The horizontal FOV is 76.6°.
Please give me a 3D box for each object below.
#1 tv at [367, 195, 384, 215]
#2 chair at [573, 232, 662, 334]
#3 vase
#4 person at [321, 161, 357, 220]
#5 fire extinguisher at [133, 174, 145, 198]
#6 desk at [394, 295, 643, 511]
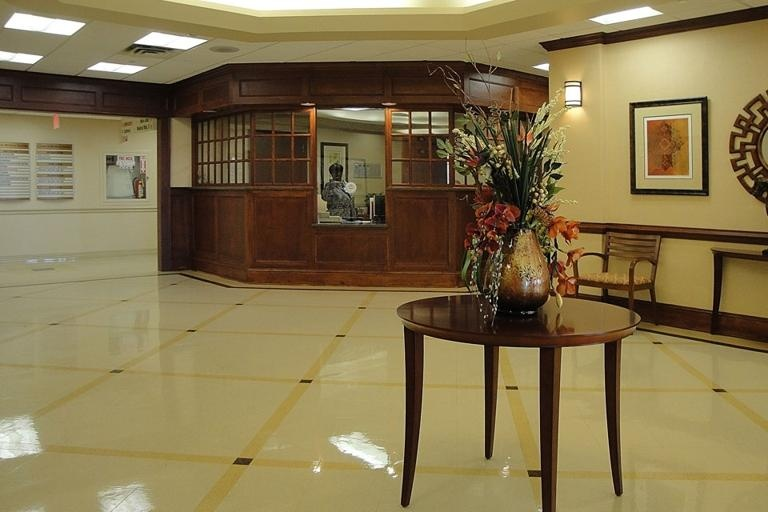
[{"bbox_3d":[-0.166,-1.014,9.611,0.308,0.509,0.570,0,1,-6],"label":"tv"},{"bbox_3d":[2.844,0.236,5.955,0.694,1.010,0.785,-4,6,-37],"label":"chair"},{"bbox_3d":[0.745,0.069,2.911,0.432,0.556,0.441,-3,4,-28],"label":"vase"},{"bbox_3d":[-0.829,-1.195,9.132,0.646,1.197,0.337,-5,42,-4],"label":"person"},{"bbox_3d":[-5.897,-1.682,11.781,0.281,0.553,0.107,-6,12,-30],"label":"fire extinguisher"},{"bbox_3d":[0.632,0.551,2.946,1.257,0.971,1.290,1,-3,-20],"label":"desk"}]
